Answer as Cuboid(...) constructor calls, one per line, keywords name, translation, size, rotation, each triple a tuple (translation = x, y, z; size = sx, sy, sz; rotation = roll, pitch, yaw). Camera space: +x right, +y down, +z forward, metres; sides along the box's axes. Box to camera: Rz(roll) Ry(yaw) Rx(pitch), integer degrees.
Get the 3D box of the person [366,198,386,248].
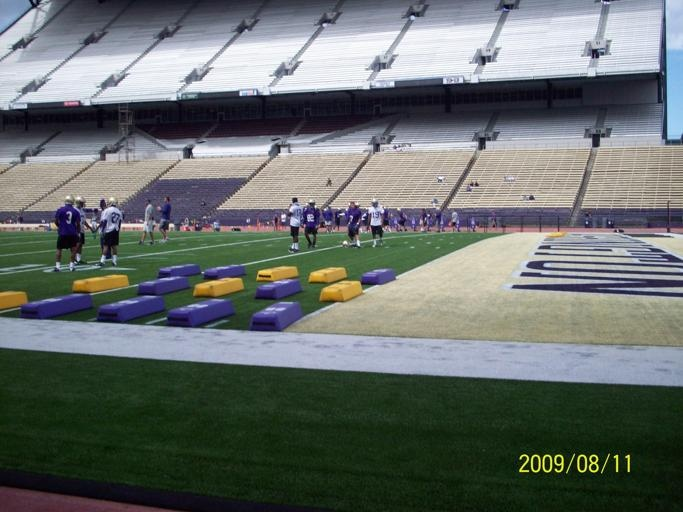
Cuboid(name="person", translation=(1.554, -1.408, 23.193), size=(0.980, 1.870, 0.811), rotation=(-3, -3, -2))
